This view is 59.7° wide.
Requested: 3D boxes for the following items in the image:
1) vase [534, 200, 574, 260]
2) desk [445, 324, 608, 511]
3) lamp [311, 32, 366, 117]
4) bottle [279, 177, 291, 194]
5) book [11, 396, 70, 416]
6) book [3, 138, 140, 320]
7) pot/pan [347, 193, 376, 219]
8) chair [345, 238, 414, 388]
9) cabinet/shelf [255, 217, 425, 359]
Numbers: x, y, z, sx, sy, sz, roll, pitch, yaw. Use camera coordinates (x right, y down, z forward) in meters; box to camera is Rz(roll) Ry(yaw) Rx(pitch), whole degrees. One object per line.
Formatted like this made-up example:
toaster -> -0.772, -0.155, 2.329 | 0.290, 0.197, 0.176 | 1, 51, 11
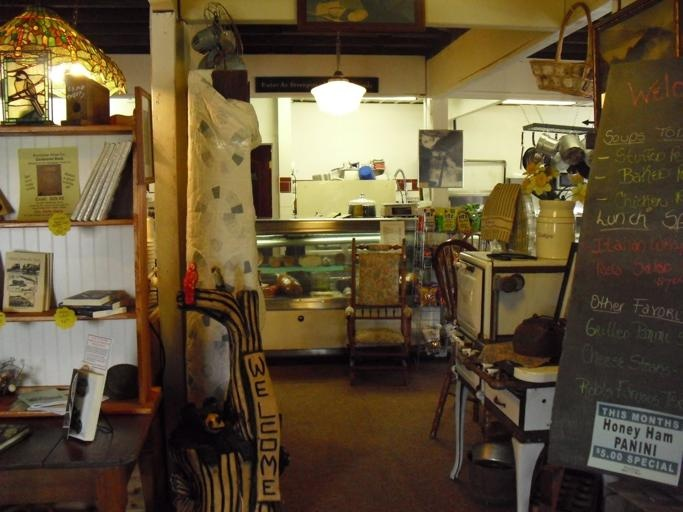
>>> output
vase -> 1.276, -0.161, 3.556 | 0.300, 0.338, 0.308 | 3, 8, 17
desk -> 0.970, 0.846, 3.083 | 0.462, 0.947, 1.120 | 0, 3, -4
lamp -> -0.031, -1.615, 5.080 | 0.396, 0.619, 0.368 | 9, 17, 33
bottle -> -0.778, -0.986, 8.183 | 0.151, 0.224, 0.114 | -4, 10, -19
book -> -1.600, 0.802, 3.145 | 0.300, 0.068, 0.130 | -1, 10, -4
book -> -1.487, -0.172, 3.197 | 0.943, 0.925, 0.316 | -1, 2, -3
pot/pan -> 0.206, -0.539, 6.339 | 0.259, 0.288, 0.263 | -1, 7, -7
chair -> 0.338, 0.471, 5.641 | 0.618, 1.257, 0.928 | 0, 10, 4
cabinet/shelf -> -0.373, 0.316, 5.750 | 1.673, 1.211, 0.878 | 0, 0, -4
